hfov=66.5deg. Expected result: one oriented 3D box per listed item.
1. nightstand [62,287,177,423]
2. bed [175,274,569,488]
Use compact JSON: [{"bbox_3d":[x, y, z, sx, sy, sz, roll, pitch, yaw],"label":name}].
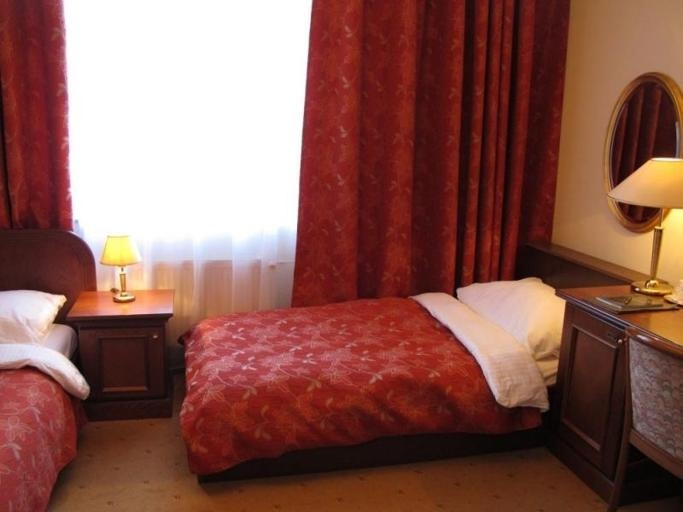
[{"bbox_3d":[-1.361,0.610,3.794,0.821,1.063,0.704,-1,7,-10],"label":"nightstand"},{"bbox_3d":[0.180,0.662,3.178,1.839,0.694,1.257,-2,24,-8],"label":"bed"}]
